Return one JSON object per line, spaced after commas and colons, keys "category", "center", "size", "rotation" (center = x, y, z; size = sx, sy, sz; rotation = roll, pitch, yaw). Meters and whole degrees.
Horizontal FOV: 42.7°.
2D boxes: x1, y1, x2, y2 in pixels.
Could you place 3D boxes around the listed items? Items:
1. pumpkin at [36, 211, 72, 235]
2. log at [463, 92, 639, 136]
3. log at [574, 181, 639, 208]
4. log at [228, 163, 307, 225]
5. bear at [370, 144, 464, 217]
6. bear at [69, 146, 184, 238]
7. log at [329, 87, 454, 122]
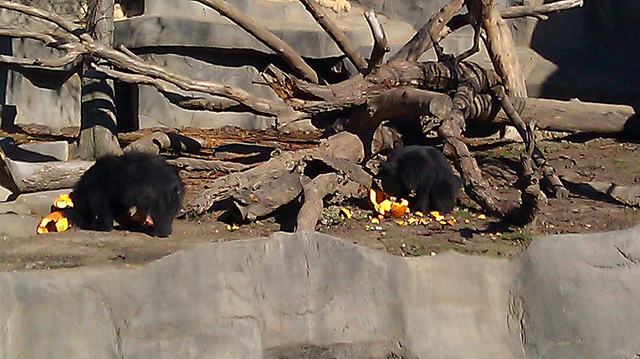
{"category": "pumpkin", "center": [-5.161, 0.752, 15.600], "size": [0.615, 0.229, 0.687], "rotation": [3, 7, 44]}
{"category": "log", "center": [4.887, -1.341, 17.436], "size": [3.954, 0.936, 0.907], "rotation": [-1, -24, -8]}
{"category": "log", "center": [5.920, 0.280, 16.727], "size": [1.230, 0.347, 0.622], "rotation": [5, 12, 19]}
{"category": "log", "center": [-1.037, 0.273, 16.021], "size": [1.975, 0.625, 0.593], "rotation": [-24, 12, -22]}
{"category": "bear", "center": [2.212, 0.011, 16.564], "size": [1.856, 1.002, 1.153], "rotation": [29, 18, 17]}
{"category": "bear", "center": [-3.393, 0.123, 15.640], "size": [2.314, 1.641, 1.168], "rotation": [3, 3, 8]}
{"category": "log", "center": [1.488, -1.494, 17.120], "size": [2.900, 0.807, 0.666], "rotation": [4, 19, 42]}
